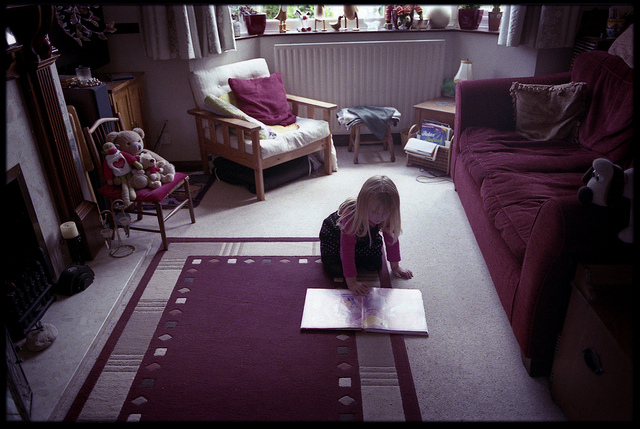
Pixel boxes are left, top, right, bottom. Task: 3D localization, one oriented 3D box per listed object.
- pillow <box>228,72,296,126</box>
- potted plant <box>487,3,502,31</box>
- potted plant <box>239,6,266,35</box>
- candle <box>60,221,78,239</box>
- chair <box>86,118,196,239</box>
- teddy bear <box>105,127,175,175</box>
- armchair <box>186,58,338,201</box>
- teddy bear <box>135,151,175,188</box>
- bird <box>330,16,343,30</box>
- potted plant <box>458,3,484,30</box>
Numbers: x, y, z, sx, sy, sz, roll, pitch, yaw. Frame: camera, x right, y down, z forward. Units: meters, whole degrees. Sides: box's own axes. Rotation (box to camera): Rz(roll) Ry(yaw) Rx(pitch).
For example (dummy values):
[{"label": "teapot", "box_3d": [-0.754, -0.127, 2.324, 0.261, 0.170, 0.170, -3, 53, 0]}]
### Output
[{"label": "pillow", "box_3d": [-0.500, -1.009, 3.624, 0.529, 0.472, 0.156, -15, -5, -41]}, {"label": "potted plant", "box_3d": [1.607, -1.800, 3.790, 0.111, 0.201, 0.270, 5, 28, 18]}, {"label": "potted plant", "box_3d": [-0.629, -1.812, 3.955, 0.228, 0.201, 0.254, -10, 49, -9]}, {"label": "candle", "box_3d": [-1.515, 0.098, 2.492, 0.091, 0.096, 0.088, 10, 34, -8]}, {"label": "chair", "box_3d": [-1.306, -0.243, 2.967, 0.618, 0.869, 0.547, 10, 46, 2]}, {"label": "teddy bear", "box_3d": [-1.234, -0.410, 2.835, 0.347, 0.361, 0.306, -17, 19, -26]}, {"label": "armchair", "box_3d": [-0.524, -0.813, 3.643, 1.199, 0.855, 1.221, 6, 30, 9]}, {"label": "teddy bear", "box_3d": [-1.136, -0.308, 2.810, 0.205, 0.238, 0.189, -6, 24, -1]}, {"label": "bird", "box_3d": [0.157, -1.844, 3.988, 0.130, 0.129, 0.098, 2, 25, -1]}, {"label": "potted plant", "box_3d": [1.419, -1.846, 3.869, 0.227, 0.208, 0.317, 3, 27, 14]}]
